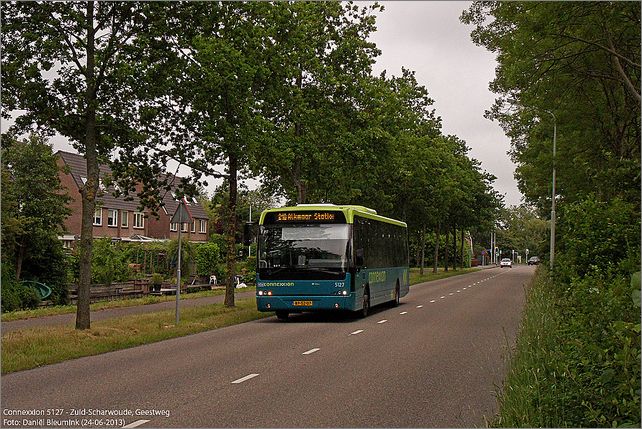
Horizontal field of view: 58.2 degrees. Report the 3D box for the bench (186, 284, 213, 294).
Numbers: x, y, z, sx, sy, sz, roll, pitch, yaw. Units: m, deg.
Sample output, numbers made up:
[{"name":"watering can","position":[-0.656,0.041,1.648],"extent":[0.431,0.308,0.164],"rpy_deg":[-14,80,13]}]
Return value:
[{"name":"bench","position":[-7.897,4.637,36.644],"extent":[0.112,0.415,1.397],"rpy_deg":[-14,-11,29]}]
